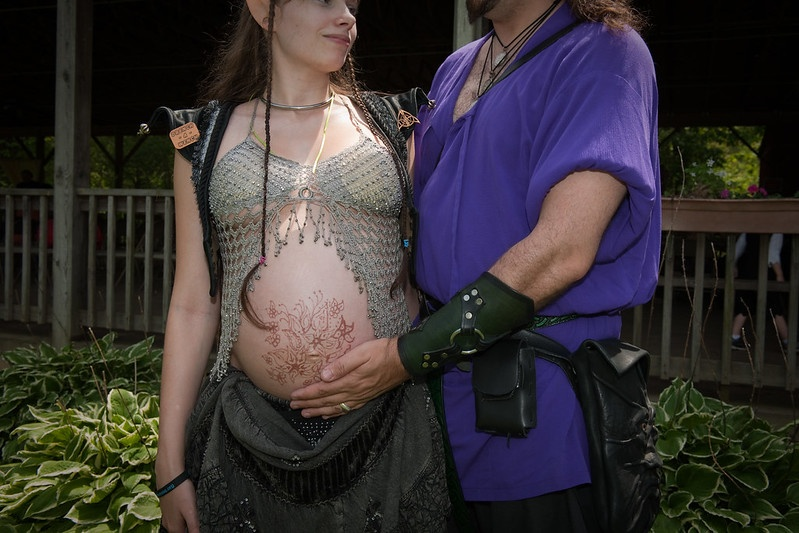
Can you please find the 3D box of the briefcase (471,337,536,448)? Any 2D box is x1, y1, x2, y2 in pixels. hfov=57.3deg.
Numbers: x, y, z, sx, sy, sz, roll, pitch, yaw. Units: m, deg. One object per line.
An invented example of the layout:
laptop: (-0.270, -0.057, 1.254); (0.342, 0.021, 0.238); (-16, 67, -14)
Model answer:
briefcase: (0.533, 0.618, 3.713); (0.418, 0.663, 0.310); (-4, -12, 19)

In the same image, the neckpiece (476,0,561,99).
neckpiece: (0.644, -1.139, 3.882); (0.090, 0.398, 0.387); (29, -7, 25)

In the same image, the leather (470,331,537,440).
leather: (0.527, 0.596, 3.708); (0.406, 0.639, 0.280); (-3, -14, 17)

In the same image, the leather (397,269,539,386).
leather: (0.343, 0.326, 3.726); (0.658, 0.415, 0.276); (-37, -22, -3)

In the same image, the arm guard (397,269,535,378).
arm guard: (0.329, 0.334, 3.664); (0.662, 0.411, 0.283); (-36, -22, -4)

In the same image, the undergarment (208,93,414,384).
undergarment: (-0.420, -0.177, 4.357); (1.493, 1.952, 1.010); (-1, -15, -5)
